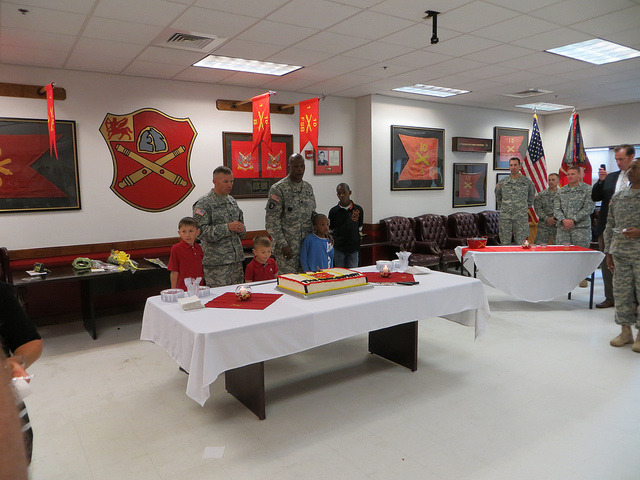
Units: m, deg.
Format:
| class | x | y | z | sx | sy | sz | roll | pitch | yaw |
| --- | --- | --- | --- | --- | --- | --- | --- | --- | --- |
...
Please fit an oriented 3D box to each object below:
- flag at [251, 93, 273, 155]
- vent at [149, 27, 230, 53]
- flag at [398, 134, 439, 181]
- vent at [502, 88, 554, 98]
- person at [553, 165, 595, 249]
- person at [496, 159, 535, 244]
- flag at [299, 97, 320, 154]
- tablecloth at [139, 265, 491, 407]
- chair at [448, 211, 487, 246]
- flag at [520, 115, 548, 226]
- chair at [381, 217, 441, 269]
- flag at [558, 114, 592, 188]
| class | x | y | z | sx | sy | sz | roll | pitch | yaw |
| --- | --- | --- | --- | --- | --- | --- | --- | --- | --- |
| flag | -0.801 | -1.660 | 5.888 | 0.205 | 0.714 | 0.799 | -5 | 11 | -19 |
| vent | -1.491 | -2.270 | 4.799 | 0.754 | 0.078 | 0.542 | -7 | 12 | -30 |
| flag | 1.964 | -1.629 | 8.300 | 0.934 | 0.800 | 0.073 | -6 | 13 | -26 |
| vent | 3.892 | -2.761 | 7.917 | 0.819 | 0.061 | 0.599 | -8 | 12 | -33 |
| person | 3.908 | -0.297 | 6.577 | 0.530 | 1.631 | 0.451 | 11 | 27 | 45 |
| person | 3.110 | -0.602 | 6.776 | 0.561 | 1.376 | 0.543 | 4 | 12 | 24 |
| flag | -0.164 | -1.671 | 6.044 | 0.248 | 0.712 | 0.691 | -2 | 10 | -3 |
| tablecloth | 0.048 | 0.650 | 3.532 | 2.828 | 0.556 | 0.961 | -6 | 11 | -25 |
| chair | 2.944 | -0.258 | 8.787 | 0.631 | 0.906 | 0.732 | -2 | 4 | -32 |
| flag | 3.918 | -1.549 | 7.639 | 0.435 | 1.366 | 0.586 | 1 | 11 | 10 |
| chair | 1.563 | 0.113 | 7.464 | 0.917 | 1.049 | 0.981 | -9 | 7 | -42 |
| flag | 4.787 | -1.695 | 7.939 | 0.562 | 1.599 | 0.330 | 4 | -11 | 31 |
